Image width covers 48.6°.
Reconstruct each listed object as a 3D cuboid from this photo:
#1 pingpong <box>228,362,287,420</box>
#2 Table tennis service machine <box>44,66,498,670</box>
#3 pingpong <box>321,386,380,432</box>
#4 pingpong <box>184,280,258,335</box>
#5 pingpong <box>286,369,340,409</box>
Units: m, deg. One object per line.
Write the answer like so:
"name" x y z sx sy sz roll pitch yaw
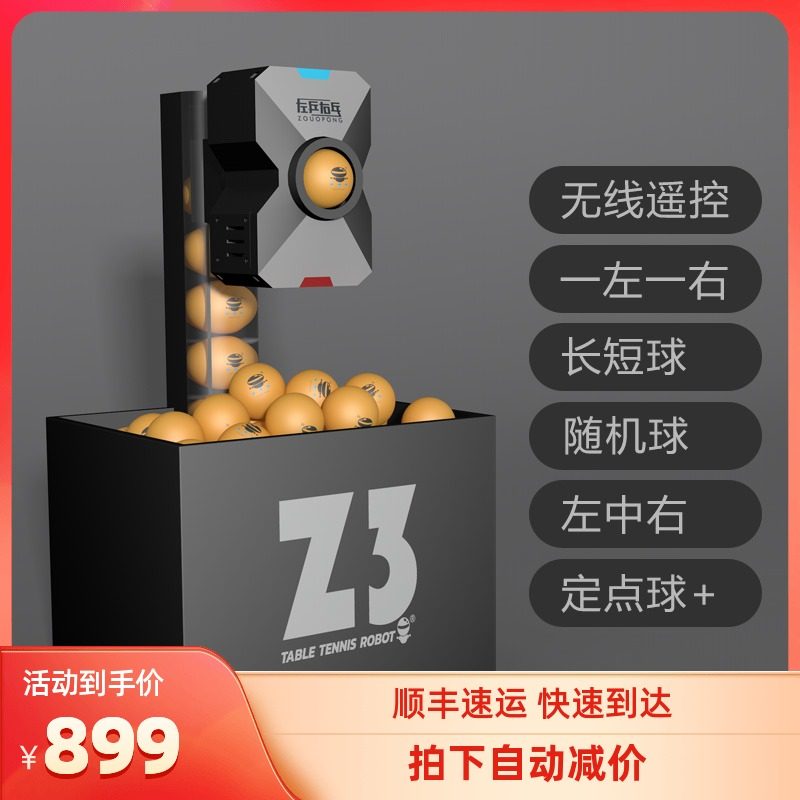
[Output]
"pingpong" -0.273 -0.018 1.678 0.115 0.106 0.116 3 98 9
"Table tennis service machine" -0.270 0.019 1.677 0.890 0.873 0.966 -2 59 6
"pingpong" -0.094 0.024 1.685 0.090 0.097 0.078 8 80 -2
"pingpong" -0.350 -0.175 1.722 0.091 0.121 0.086 1 95 7
"pingpong" -0.170 -0.017 1.746 0.084 0.094 0.075 2 81 21
